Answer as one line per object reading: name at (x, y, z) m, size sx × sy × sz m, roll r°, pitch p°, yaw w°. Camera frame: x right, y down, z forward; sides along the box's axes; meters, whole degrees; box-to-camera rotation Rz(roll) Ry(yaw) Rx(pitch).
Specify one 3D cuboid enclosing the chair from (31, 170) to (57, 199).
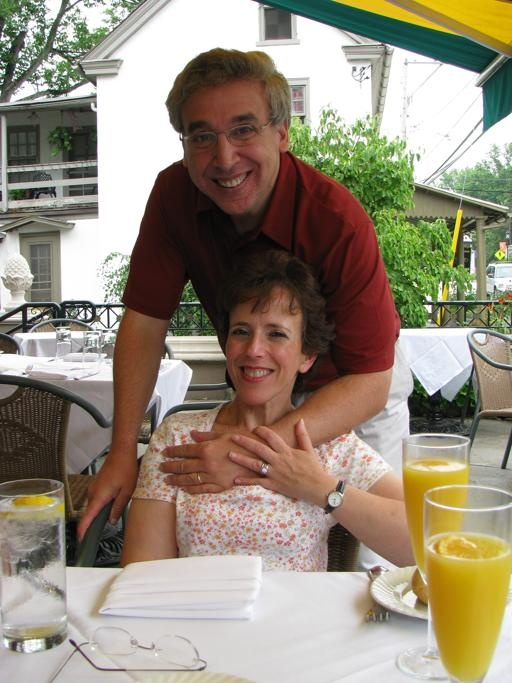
chair at (-5.934, -4.354, 16.817) m, size 0.734 × 0.897 × 0.803 m, roll -1°, pitch 13°, yaw -10°

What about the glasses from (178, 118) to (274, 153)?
glasses at (-0.082, -0.504, 1.478) m, size 0.229 × 0.079 × 0.071 m, roll 3°, pitch 4°, yaw 11°

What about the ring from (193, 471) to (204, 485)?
ring at (-0.124, 0.301, 1.319) m, size 0.011 × 0.024 × 0.019 m, roll -14°, pitch 0°, yaw 4°

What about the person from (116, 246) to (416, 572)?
person at (0.040, 0.166, 1.391) m, size 0.623 × 0.757 × 0.366 m, roll 3°, pitch 4°, yaw 4°

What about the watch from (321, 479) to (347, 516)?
watch at (0.164, 0.317, 1.244) m, size 0.043 × 0.064 × 0.062 m, roll 24°, pitch 22°, yaw 8°
